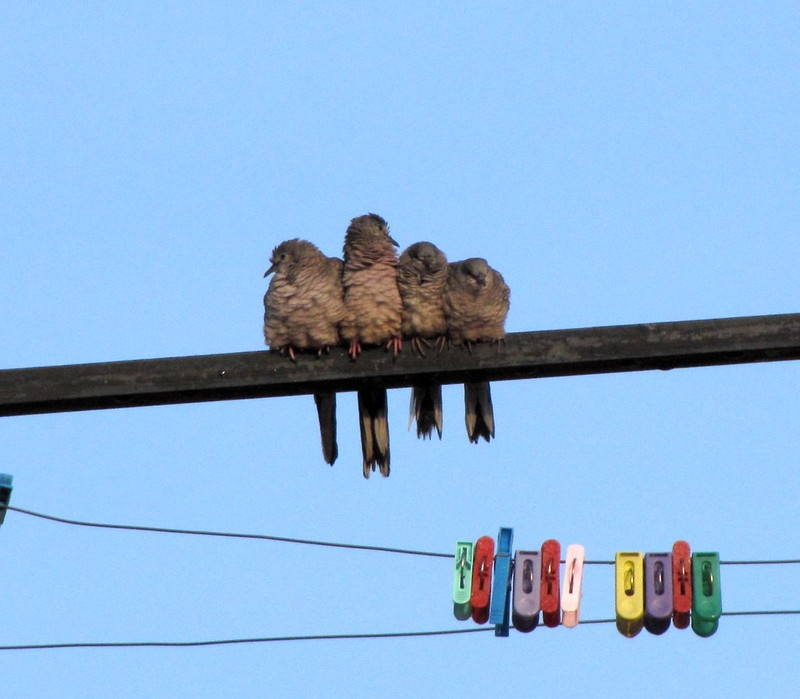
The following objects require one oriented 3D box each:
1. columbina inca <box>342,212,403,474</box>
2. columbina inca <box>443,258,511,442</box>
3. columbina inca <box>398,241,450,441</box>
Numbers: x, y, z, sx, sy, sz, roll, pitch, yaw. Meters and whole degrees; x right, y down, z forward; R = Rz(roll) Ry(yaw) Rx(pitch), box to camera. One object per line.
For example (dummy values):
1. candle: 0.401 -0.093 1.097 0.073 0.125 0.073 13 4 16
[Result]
1. columbina inca: -0.167 -0.108 12.881 0.221 0.537 1.504 -1 -78 0
2. columbina inca: 0.450 -0.134 13.587 0.311 0.467 1.495 -1 -73 3
3. columbina inca: 0.131 -0.333 13.871 0.272 0.607 1.218 1 -10 0
